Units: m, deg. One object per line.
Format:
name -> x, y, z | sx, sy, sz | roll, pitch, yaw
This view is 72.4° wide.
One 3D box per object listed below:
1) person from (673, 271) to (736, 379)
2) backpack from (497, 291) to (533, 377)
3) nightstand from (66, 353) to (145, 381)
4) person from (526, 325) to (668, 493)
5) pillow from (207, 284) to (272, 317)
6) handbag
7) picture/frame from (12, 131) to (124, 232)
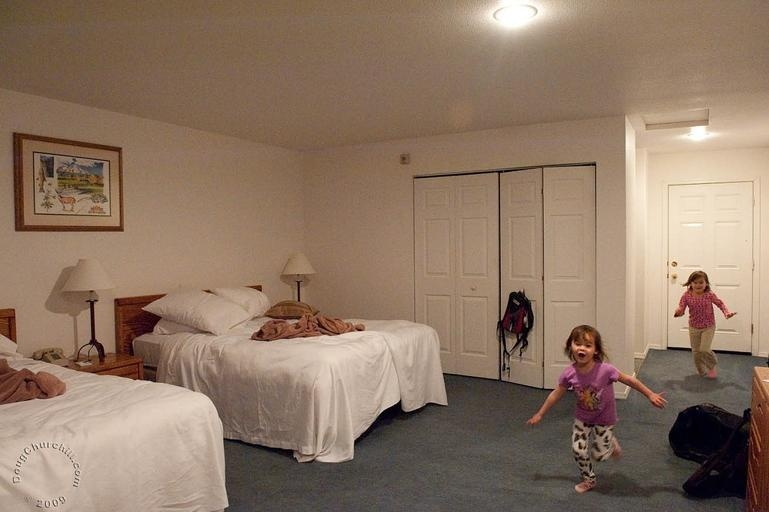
person -> 4.055, 0.844, 6.711 | 0.574, 1.260, 0.599 | -10, 14, -42
backpack -> 1.544, 0.925, 6.259 | 0.423, 1.038, 0.221 | 2, 11, 12
nightstand -> -2.691, 0.988, 5.068 | 0.387, 0.360, 0.368 | 1, 1, 28
person -> 1.888, 1.421, 4.816 | 0.748, 1.523, 1.248 | -5, 1, -37
pillow -> -1.591, 0.510, 6.153 | 0.448, 0.132, 0.428 | 27, 5, 12
handbag -> 2.672, 1.568, 4.303 | 0.276, 0.783, 0.661 | 10, -22, 1
picture/frame -> -3.121, -0.712, 5.208 | 0.982, 0.964, 0.250 | -7, 13, -33
